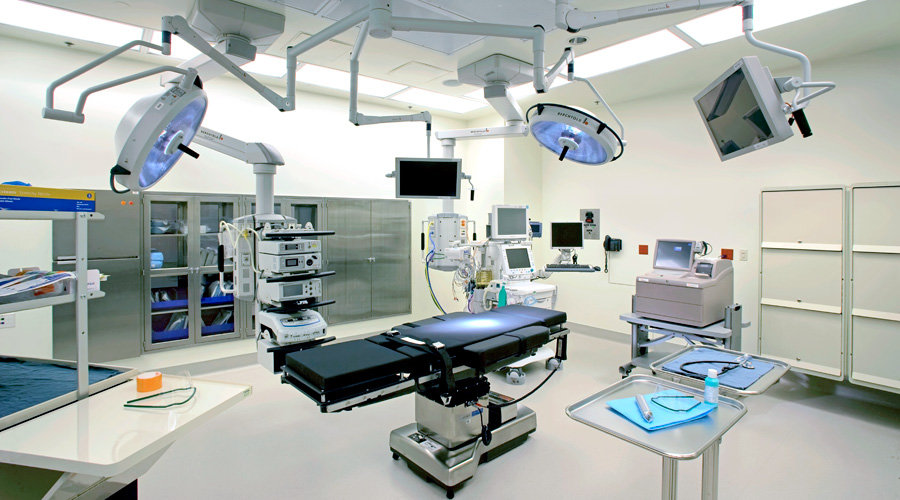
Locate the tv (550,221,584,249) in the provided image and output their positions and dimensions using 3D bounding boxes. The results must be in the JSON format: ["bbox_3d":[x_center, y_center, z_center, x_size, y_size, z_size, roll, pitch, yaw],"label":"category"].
[{"bbox_3d":[1.701,-0.219,8.176,0.482,0.327,0.046,0,3,-4],"label":"tv"}]

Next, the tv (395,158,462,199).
[{"bbox_3d":[-0.274,-0.920,7.143,0.837,0.517,0.167,-3,4,-1],"label":"tv"}]

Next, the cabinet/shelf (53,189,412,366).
[{"bbox_3d":[-3.423,0.254,8.699,0.814,2.147,5.322,2,3,32],"label":"cabinet/shelf"}]

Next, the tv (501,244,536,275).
[{"bbox_3d":[0.958,0.146,7.881,0.445,0.392,0.112,-6,-10,-30],"label":"tv"}]

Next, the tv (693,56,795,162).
[{"bbox_3d":[2.927,-1.356,5.497,0.440,0.735,0.786,-30,4,-15],"label":"tv"}]

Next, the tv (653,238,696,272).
[{"bbox_3d":[2.888,0.040,7.425,0.563,0.417,0.284,3,9,-7],"label":"tv"}]

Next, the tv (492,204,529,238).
[{"bbox_3d":[1.014,-0.384,8.063,0.379,0.519,0.681,-4,5,-38],"label":"tv"}]

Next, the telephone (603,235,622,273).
[{"bbox_3d":[2.541,0.062,8.806,0.292,0.587,0.101,-1,5,35],"label":"telephone"}]
